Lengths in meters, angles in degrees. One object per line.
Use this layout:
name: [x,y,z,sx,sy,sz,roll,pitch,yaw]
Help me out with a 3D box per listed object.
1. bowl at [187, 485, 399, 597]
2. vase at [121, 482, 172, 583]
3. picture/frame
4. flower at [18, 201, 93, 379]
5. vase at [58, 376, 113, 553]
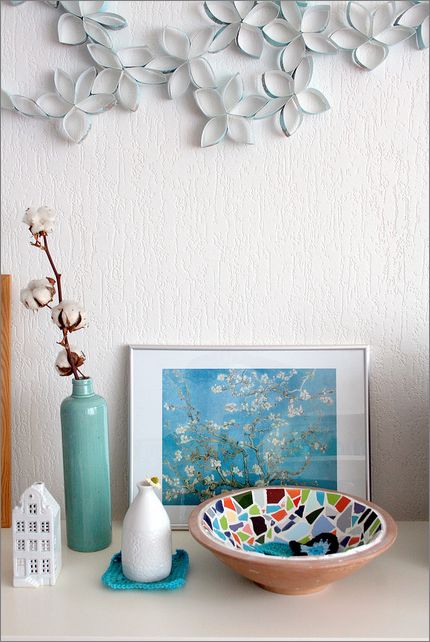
bowl: [0.114,0.327,0.900,0.297,0.072,0.279,0,5,0]
vase: [-0.101,0.315,0.889,0.060,0.131,0.055,-5,7,-42]
picture/frame: [0.077,0.221,1.084,0.357,0.250,0.012,-1,-3,0]
flower: [-0.273,-0.035,1.006,0.116,0.291,0.073,0,9,-10]
vase: [-0.216,0.242,1.013,0.077,0.285,0.056,-2,6,-14]
